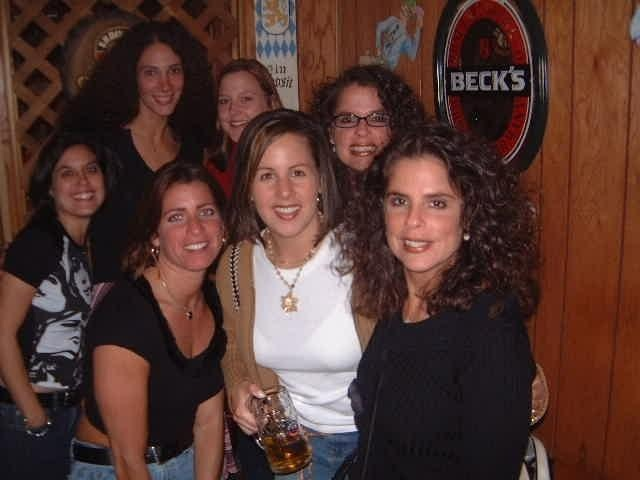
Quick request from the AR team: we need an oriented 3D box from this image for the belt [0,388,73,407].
[{"bbox_3d":[-1.408,0.812,3.114,0.213,0.054,0.152,7,-5,-39],"label":"belt"}]
